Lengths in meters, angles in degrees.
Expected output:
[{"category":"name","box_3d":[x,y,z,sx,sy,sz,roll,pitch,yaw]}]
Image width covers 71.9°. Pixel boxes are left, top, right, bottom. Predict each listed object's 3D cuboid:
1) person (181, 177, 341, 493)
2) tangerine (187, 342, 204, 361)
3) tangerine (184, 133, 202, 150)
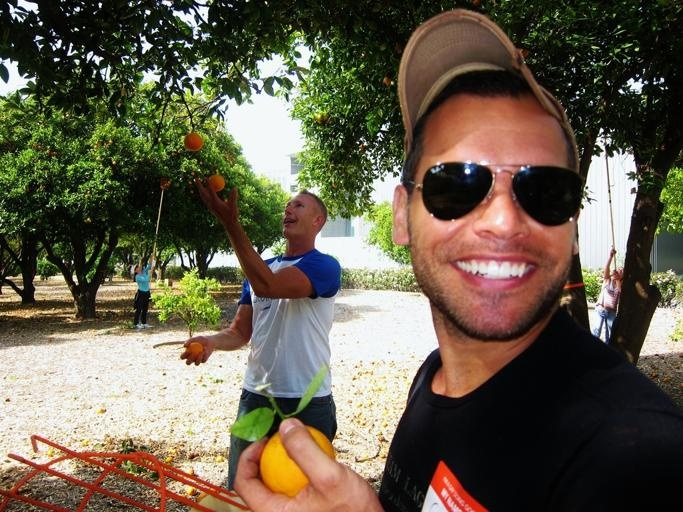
[{"category":"person","box_3d":[-0.583,0.490,3.760,1.041,2.672,0.857,0,0,-33]},{"category":"tangerine","box_3d":[-1.044,0.673,3.361,0.106,0.126,0.058,-4,-4,-28]},{"category":"tangerine","box_3d":[-1.332,-1.036,4.302,0.156,0.180,0.169,6,14,29]}]
